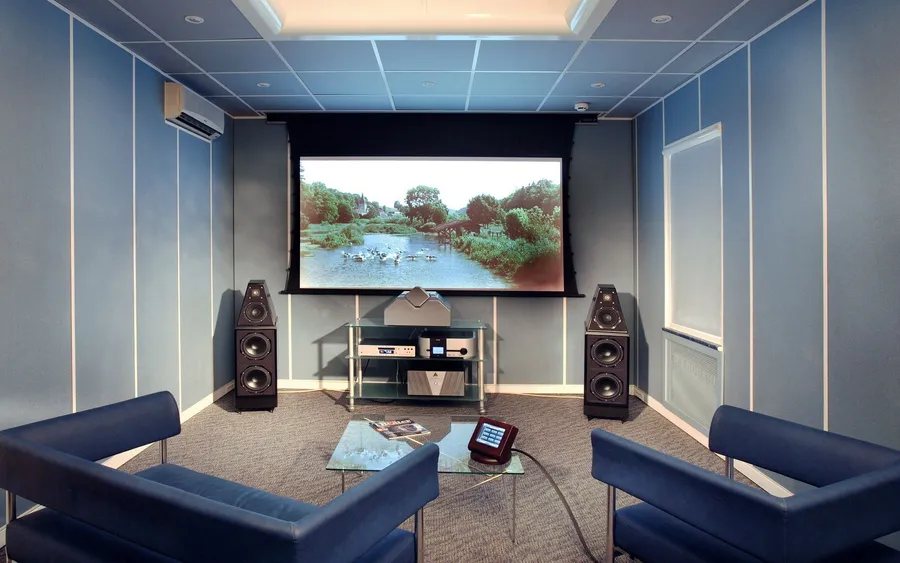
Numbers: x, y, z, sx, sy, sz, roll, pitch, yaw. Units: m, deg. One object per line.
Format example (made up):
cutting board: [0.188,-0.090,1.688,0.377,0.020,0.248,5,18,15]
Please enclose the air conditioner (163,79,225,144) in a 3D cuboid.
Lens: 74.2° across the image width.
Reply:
air conditioner: [-2.557,-1.713,5.977,0.196,0.441,0.711,0,2,11]
